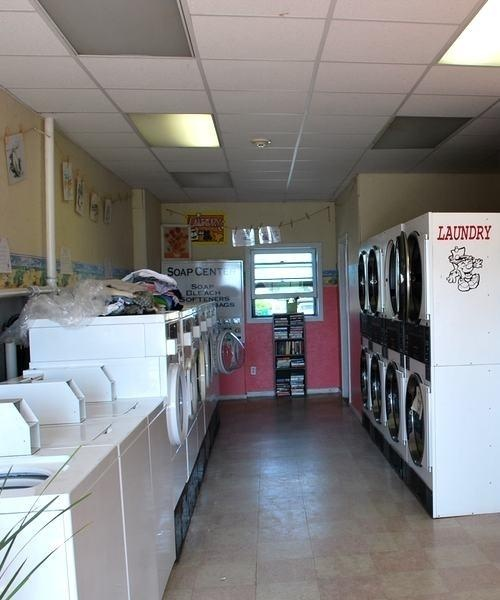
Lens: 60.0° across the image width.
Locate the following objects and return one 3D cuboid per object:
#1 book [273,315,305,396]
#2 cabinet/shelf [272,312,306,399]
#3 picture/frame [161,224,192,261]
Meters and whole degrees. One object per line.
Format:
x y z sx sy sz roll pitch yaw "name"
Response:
0.570 0.796 6.227 0.445 1.189 0.134 -1 0 0 "book"
0.564 0.762 6.136 0.350 1.146 0.231 -1 6 7 "cabinet/shelf"
-1.069 -0.808 6.163 0.374 0.602 0.035 0 -4 -13 "picture/frame"
